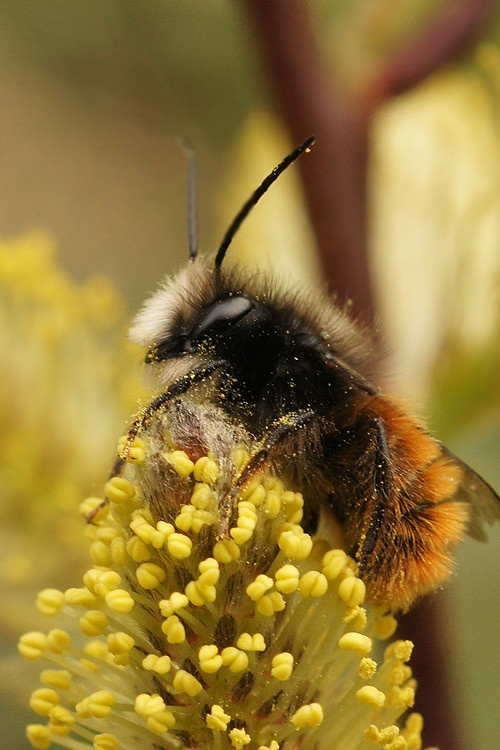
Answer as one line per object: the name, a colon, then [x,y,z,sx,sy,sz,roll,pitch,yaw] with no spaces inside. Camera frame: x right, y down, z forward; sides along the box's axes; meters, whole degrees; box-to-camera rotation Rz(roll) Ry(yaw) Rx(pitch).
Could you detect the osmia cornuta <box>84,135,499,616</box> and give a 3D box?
osmia cornuta: [0.053,0.026,0.740,0.393,0.188,0.282,27,-28,-17]
